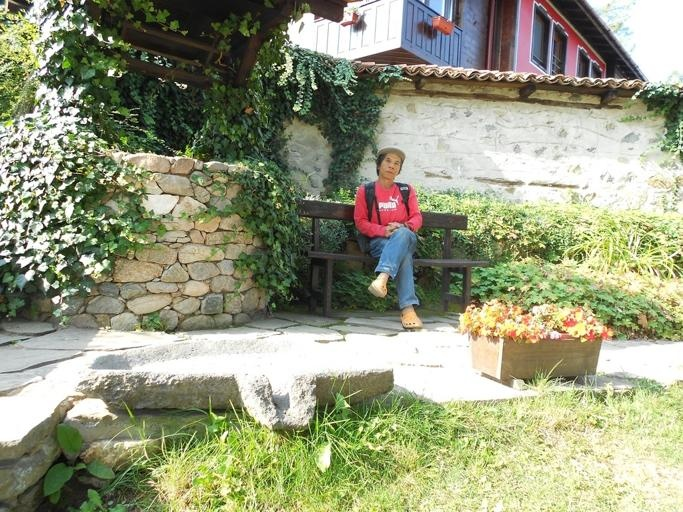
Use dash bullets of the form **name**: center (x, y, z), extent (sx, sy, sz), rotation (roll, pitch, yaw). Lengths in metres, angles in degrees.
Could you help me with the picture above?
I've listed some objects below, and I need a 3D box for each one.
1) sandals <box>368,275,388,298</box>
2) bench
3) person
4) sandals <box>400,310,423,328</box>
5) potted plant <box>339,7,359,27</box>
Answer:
- **sandals**: center (0.365, 0.280, 4.978), extent (0.149, 0.203, 0.210), rotation (10, 16, 24)
- **bench**: center (0.567, 0.048, 5.980), extent (2.226, 1.213, 0.711), rotation (3, 3, -16)
- **person**: center (0.492, -0.264, 5.391), extent (0.756, 1.714, 1.273), rotation (4, 14, 1)
- **sandals**: center (0.695, 0.628, 5.033), extent (0.187, 0.181, 0.228), rotation (2, 15, -6)
- **potted plant**: center (0.212, -5.546, 11.664), extent (0.398, 0.355, 0.734), rotation (1, 15, -10)
